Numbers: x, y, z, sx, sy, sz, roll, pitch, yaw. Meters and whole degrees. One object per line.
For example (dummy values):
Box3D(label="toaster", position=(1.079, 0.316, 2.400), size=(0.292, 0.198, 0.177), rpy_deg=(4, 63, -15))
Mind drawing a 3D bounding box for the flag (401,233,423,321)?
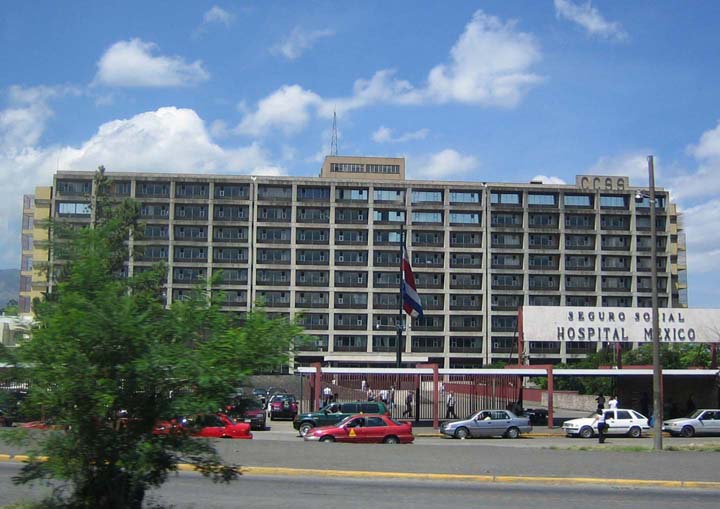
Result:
Box3D(label="flag", position=(3.667, 1.620, 95.029), size=(0.996, 6.060, 1.523), rpy_deg=(2, -7, -13))
